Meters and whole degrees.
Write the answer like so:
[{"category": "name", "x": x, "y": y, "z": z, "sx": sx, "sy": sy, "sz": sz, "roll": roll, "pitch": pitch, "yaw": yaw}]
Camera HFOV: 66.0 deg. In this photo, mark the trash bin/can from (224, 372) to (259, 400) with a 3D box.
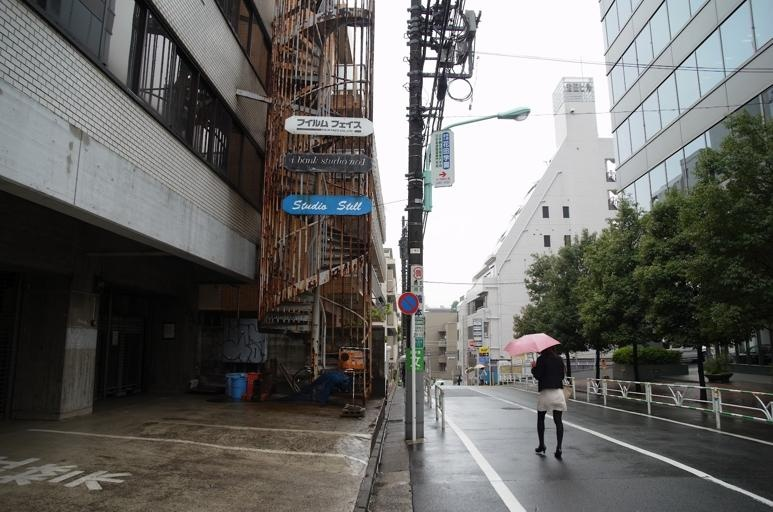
[{"category": "trash bin/can", "x": -4.868, "y": 4.354, "z": 19.652, "sx": 0.722, "sy": 0.774, "sz": 0.845, "roll": 1, "pitch": -13, "yaw": -4}]
